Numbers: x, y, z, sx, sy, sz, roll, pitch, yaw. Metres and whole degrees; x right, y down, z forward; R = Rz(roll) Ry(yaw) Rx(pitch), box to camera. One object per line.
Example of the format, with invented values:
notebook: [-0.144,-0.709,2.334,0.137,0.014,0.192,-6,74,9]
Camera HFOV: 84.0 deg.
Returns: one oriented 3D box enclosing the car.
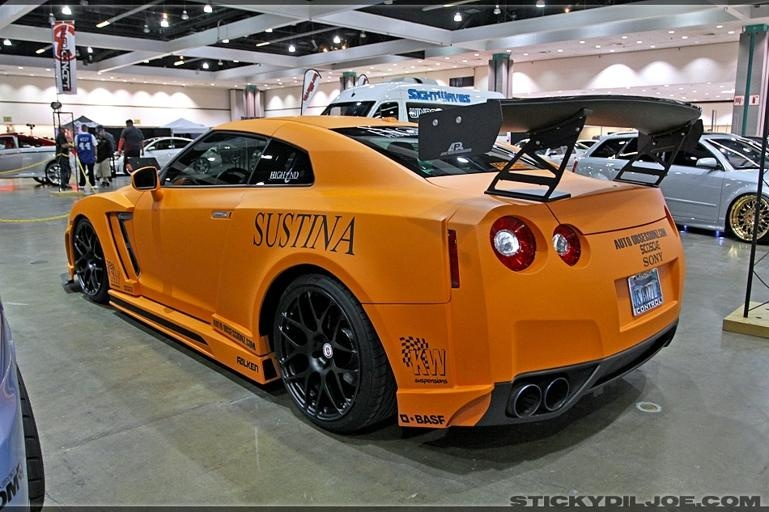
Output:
car: [-0.822,0.091,3.612,4.883,1.358,2.557,11,14,38]
